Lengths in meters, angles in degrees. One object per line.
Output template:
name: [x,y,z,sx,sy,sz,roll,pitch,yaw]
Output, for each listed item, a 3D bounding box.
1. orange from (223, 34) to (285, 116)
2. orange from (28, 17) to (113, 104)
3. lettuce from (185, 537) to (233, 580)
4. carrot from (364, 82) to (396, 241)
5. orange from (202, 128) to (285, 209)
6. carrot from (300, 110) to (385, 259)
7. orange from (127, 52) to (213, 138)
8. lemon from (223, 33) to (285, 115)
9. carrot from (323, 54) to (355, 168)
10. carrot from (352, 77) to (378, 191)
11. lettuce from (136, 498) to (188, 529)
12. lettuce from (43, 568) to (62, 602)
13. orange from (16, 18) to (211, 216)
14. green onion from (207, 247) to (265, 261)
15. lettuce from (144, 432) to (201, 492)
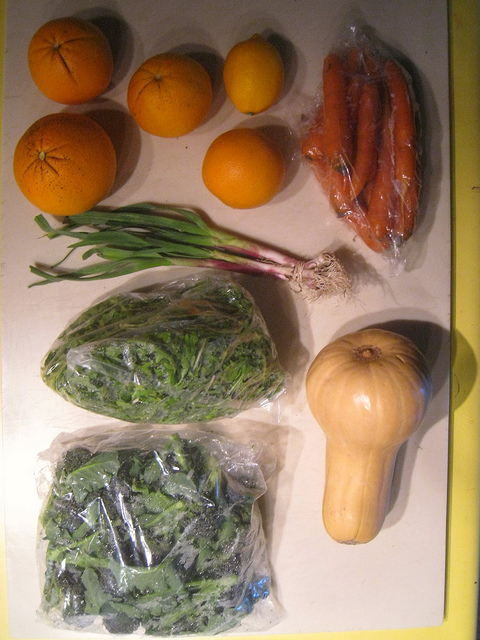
orange: [0.027,-0.370,0.934,0.104,0.118,0.099,1,3,-4]
orange: [-0.242,-0.372,0.937,0.131,0.116,0.112,-14,9,12]
lettuce: [-0.043,0.334,0.877,0.060,0.052,0.014,6,-4,-22]
carrot: [0.222,-0.245,0.951,0.041,0.229,0.058,2,4,15]
orange: [0.009,-0.242,0.942,0.147,0.130,0.138,-17,11,2]
carrot: [0.152,-0.201,0.988,0.084,0.261,0.076,-35,3,-2]
orange: [-0.105,-0.326,0.901,0.120,0.120,0.069,4,28,0]
lemon: [0.020,-0.358,0.894,0.104,0.098,0.153,17,30,38]
carrot: [0.147,-0.313,0.929,0.045,0.165,0.044,-3,-2,28]
carrot: [0.192,-0.284,0.931,0.031,0.151,0.087,8,28,8]
lettuce: [-0.113,0.280,0.875,0.060,0.036,0.017,-32,33,-3]
lettuce: [-0.275,0.385,0.898,0.035,0.049,0.014,4,6,37]
orange: [-0.183,-0.301,0.926,0.308,0.271,0.187,-5,29,-17]
green onion: [-0.007,-0.105,0.963,0.055,0.006,0.007,17,17,-4]
lettuce: [-0.098,0.210,0.889,0.077,0.072,0.018,25,-10,12]
